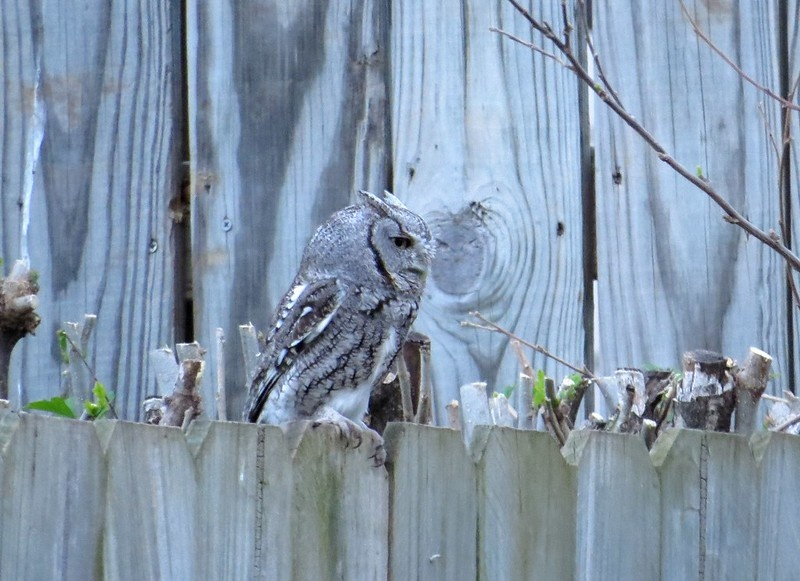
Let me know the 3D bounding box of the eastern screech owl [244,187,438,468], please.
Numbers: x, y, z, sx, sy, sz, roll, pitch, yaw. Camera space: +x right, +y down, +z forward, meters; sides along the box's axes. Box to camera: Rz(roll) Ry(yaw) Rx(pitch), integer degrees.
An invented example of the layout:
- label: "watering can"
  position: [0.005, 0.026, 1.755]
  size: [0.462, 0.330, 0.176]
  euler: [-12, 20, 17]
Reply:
- label: "eastern screech owl"
  position: [-0.243, 0.135, 9.340]
  size: [0.910, 1.154, 0.612]
  euler: [-2, -1, 39]
